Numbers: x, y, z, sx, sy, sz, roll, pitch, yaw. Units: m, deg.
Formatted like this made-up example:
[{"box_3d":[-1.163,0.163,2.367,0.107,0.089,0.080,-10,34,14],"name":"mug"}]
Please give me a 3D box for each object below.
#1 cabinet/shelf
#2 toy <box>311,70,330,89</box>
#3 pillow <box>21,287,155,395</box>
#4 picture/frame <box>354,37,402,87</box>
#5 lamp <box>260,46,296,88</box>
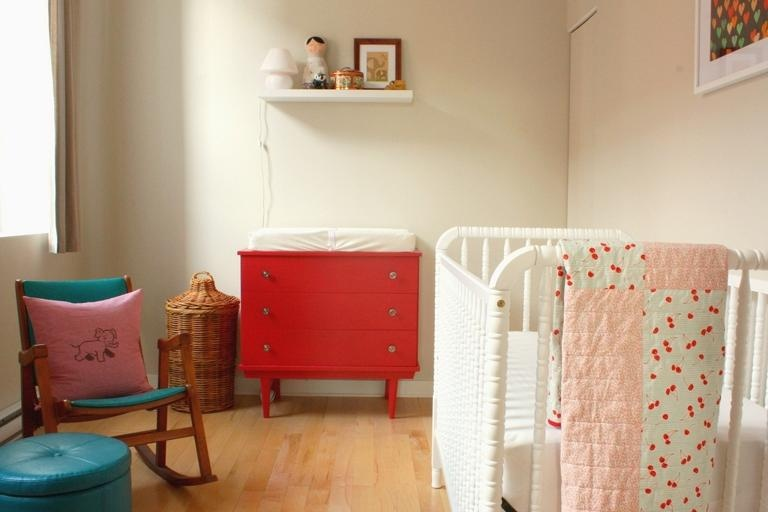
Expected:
[{"box_3d":[-0.339,0.389,4.107,1.229,1.169,0.760,0,-1,0],"name":"cabinet/shelf"},{"box_3d":[-0.417,-1.152,3.968,0.102,0.123,0.133,0,9,16],"name":"toy"},{"box_3d":[-1.525,0.433,3.044,0.504,0.537,0.193,-6,-21,-34],"name":"pillow"},{"box_3d":[-0.042,-1.299,4.015,0.338,0.350,0.028,2,0,-2],"name":"picture/frame"},{"box_3d":[-0.677,-1.190,3.976,0.259,0.278,0.263,-1,-6,-12],"name":"lamp"}]
